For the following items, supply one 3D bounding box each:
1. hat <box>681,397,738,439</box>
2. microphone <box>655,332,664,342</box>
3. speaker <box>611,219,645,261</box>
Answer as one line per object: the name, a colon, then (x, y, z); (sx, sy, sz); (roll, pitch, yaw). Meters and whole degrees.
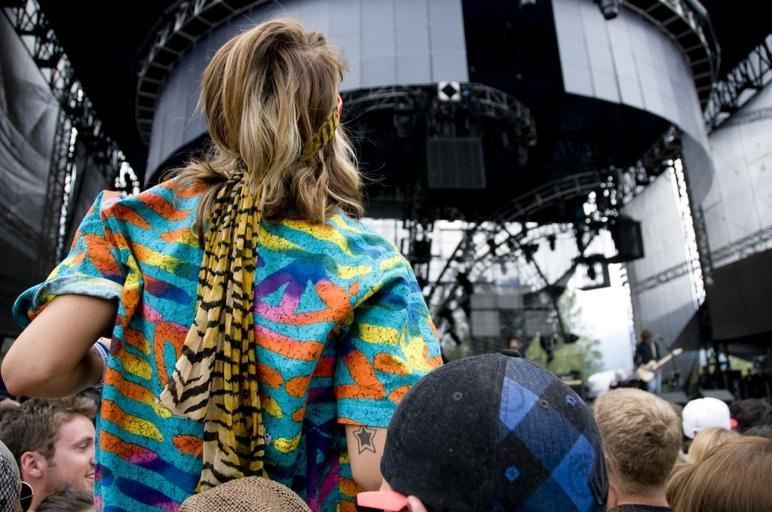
hat: (3.594, 1.765, 8.147); (0.528, 0.352, 0.439); (-5, 14, -8)
microphone: (5.730, 1.683, 15.471); (0.099, 0.131, 0.184); (6, -19, 0)
speaker: (5.005, -0.374, 15.338); (0.341, 0.904, 0.712); (13, -18, -36)
